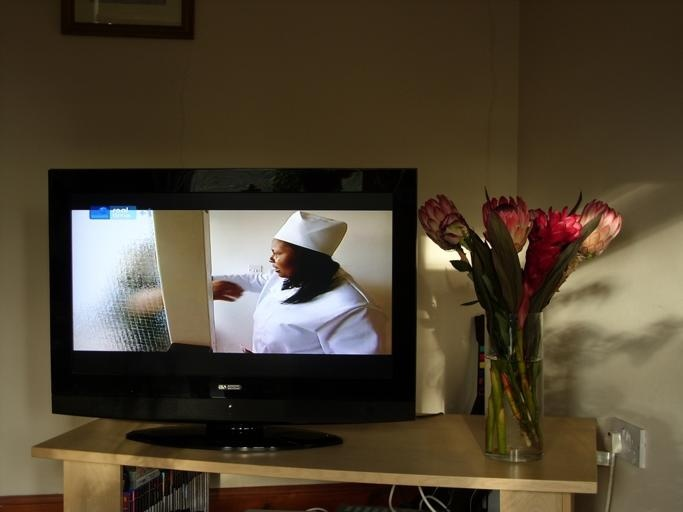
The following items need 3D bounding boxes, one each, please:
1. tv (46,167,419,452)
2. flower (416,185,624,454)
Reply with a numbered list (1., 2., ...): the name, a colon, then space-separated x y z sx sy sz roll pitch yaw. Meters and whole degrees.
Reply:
1. tv: -0.333 0.168 1.969 0.788 0.666 0.245 0 -1 4
2. flower: 0.520 0.206 1.788 0.527 0.773 0.247 -3 8 -12
